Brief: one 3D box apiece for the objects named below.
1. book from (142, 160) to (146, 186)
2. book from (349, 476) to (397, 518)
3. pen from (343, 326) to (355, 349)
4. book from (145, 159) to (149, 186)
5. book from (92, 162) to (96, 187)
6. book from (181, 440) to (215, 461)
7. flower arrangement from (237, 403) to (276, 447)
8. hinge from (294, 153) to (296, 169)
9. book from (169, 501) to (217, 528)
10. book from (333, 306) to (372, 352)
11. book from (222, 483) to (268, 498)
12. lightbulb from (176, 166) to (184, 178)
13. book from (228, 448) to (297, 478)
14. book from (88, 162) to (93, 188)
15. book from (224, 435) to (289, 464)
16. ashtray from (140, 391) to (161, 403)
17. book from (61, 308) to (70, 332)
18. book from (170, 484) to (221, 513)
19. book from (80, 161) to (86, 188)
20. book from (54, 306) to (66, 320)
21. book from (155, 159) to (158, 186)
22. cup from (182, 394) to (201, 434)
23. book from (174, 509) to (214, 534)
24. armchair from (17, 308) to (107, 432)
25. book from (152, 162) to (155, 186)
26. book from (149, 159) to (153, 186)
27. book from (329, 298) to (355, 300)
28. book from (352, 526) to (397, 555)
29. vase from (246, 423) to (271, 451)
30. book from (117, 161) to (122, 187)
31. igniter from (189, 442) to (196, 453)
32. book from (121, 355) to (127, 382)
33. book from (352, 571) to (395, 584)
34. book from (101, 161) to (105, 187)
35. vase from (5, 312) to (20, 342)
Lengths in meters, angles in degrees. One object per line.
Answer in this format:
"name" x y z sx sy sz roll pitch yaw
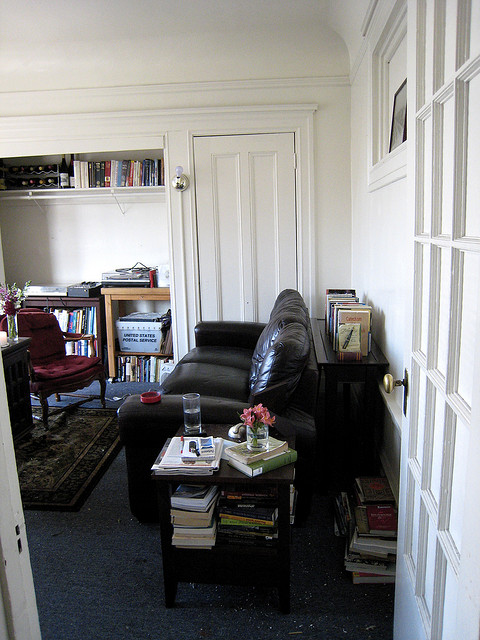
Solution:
"book" -0.921 -1.412 4.552 0.046 0.226 0.012 0 9 11
"book" 0.612 0.811 2.218 0.143 0.038 0.155 -2 10 -3
"pen" 0.611 0.102 2.728 0.025 0.151 0.026 28 2 -22
"book" -0.894 -1.411 4.543 0.050 0.233 0.017 0 9 7
"book" -1.434 -1.432 4.662 0.042 0.229 0.018 1 9 15
"book" -0.164 0.497 1.861 0.122 0.031 0.202 -2 10 -4
"flower arrangement" 0.062 0.386 1.813 0.133 0.141 0.132 -2 2 -27
"hinge" 0.471 -1.372 4.075 0.011 0.119 0.005 -1 9 3
"book" -0.189 0.737 1.800 0.109 0.028 0.116 1 3 -4
"book" 0.681 0.050 2.925 0.064 0.265 0.272 1 -3 -13
"book" 0.020 0.666 1.850 0.174 0.040 0.052 -1 9 3
"lightbulb" -0.523 -1.281 4.094 0.061 0.094 0.065 17 44 9
"book" 0.090 0.543 1.777 0.264 0.059 0.135 -2 9 -6
"book" -1.480 -1.436 4.678 0.051 0.232 0.025 3 10 28
"book" 0.035 0.496 1.799 0.105 0.027 0.109 -8 13 -32
"ashtray" -0.449 0.384 2.368 0.101 0.025 0.111 -4 10 -14
"book" -1.812 -0.008 4.904 0.068 0.205 0.203 1 10 -2
"book" -0.172 0.681 1.804 0.113 0.046 0.119 -2 -2 4
"book" -1.555 -1.438 4.687 0.047 0.241 0.017 -3 9 -8
"book" -1.883 -0.050 4.923 0.089 0.176 0.174 0 4 9
"book" -0.801 -1.410 4.527 0.033 0.241 0.028 0 9 10
"cup" -0.209 0.408 2.068 0.067 0.146 0.115 -2 9 -7
"book" -0.182 0.768 1.808 0.090 0.023 0.094 1 9 -7
"armchair" -1.557 0.368 3.986 0.682 0.872 0.615 4 12 41
"book" -0.829 -1.401 4.534 0.028 0.204 0.012 -1 9 2
"book" -0.854 -1.410 4.536 0.029 0.234 0.022 -3 9 -10
"book" 0.726 -0.154 3.376 0.172 0.005 0.065 2 10 18
"book" 0.557 0.905 1.945 0.121 0.118 0.030 5 -3 12
"vase" 0.072 0.444 1.852 0.090 0.110 0.094 3 5 1
"book" -1.169 -1.418 4.601 0.058 0.224 0.015 0 9 8
"igniter" -0.182 0.493 1.828 0.027 0.051 0.026 0 1 -1
"book" -1.194 0.495 4.845 0.043 0.198 0.187 1 0 -13
"book" 0.553 1.070 1.971 0.099 0.025 0.105 1 0 -1
"book" -1.346 -1.433 4.647 0.044 0.243 0.037 -4 9 -17
"vase" -1.742 0.049 3.626 0.084 0.201 0.186 -6 10 -28
